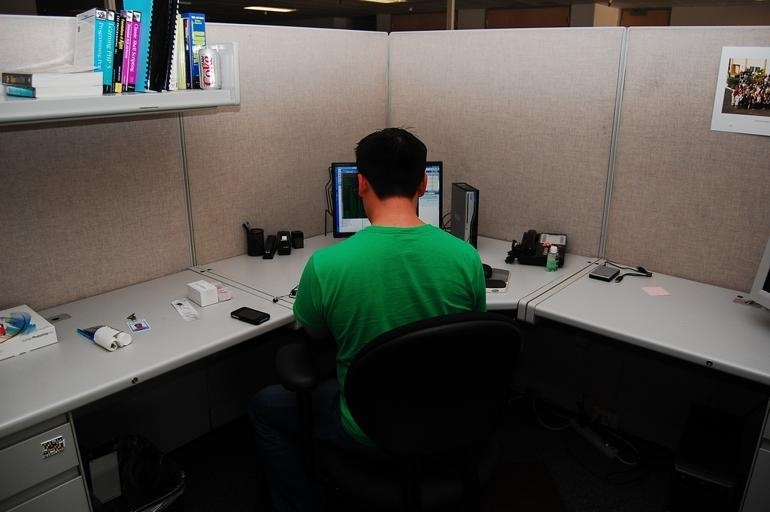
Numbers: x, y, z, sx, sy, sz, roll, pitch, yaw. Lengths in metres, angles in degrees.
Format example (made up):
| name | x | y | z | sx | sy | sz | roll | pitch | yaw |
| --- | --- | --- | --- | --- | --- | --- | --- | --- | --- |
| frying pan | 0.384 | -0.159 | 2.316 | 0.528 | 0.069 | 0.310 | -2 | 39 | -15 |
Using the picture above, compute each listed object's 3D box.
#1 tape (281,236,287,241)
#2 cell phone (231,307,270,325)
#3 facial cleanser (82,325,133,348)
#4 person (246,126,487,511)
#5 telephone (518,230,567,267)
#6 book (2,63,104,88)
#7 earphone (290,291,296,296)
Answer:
| name | x | y | z | sx | sy | sz | roll | pitch | yaw |
| --- | --- | --- | --- | --- | --- | --- | --- | --- | --- |
| tape | -0.559 | -0.097 | 2.883 | 0.027 | 0.027 | 0.006 | 1 | -6 | -3 |
| cell phone | -0.591 | 0.262 | 2.283 | 0.129 | 0.018 | 0.075 | 17 | 30 | 25 |
| facial cleanser | -1.137 | 0.310 | 2.125 | 0.183 | 0.055 | 0.092 | 18 | 32 | 30 |
| person | -0.123 | 0.279 | 2.083 | 0.809 | 1.485 | 0.828 | 4 | 16 | -19 |
| telephone | 0.853 | -0.048 | 2.817 | 0.214 | 0.105 | 0.233 | 7 | 35 | 13 |
| book | -1.226 | -0.670 | 1.940 | 0.373 | 0.048 | 0.314 | 17 | 20 | 38 |
| earphone | -0.434 | 0.177 | 2.471 | 0.022 | 0.012 | 0.030 | -8 | 13 | -35 |
